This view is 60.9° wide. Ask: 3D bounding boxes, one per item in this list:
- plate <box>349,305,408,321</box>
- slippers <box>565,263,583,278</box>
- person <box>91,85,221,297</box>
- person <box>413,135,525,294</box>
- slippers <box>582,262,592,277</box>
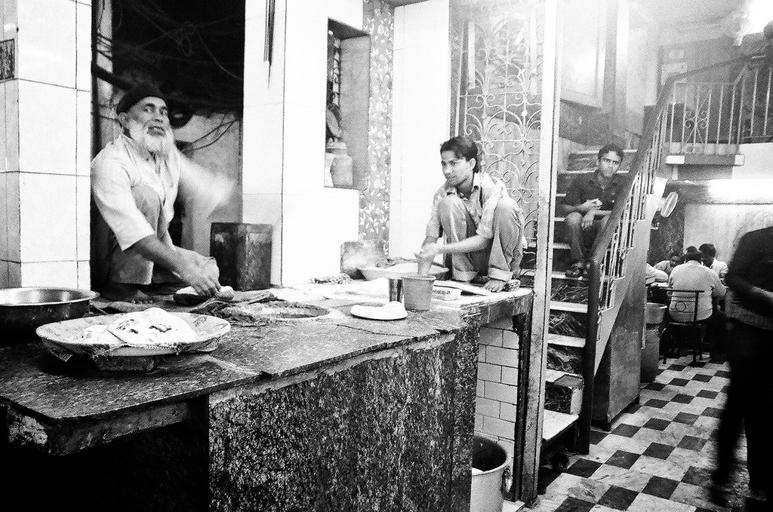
[{"bbox_3d":[-0.062,0.365,4.402,0.395,0.099,0.215,6,8,34],"label":"plate"},{"bbox_3d":[2.253,0.178,7.894,0.107,0.113,0.287,4,3,30],"label":"slippers"},{"bbox_3d":[-1.714,-0.493,5.030,1.021,1.692,1.254,0,7,-13],"label":"person"},{"bbox_3d":[0.746,-0.405,5.872,0.921,1.299,0.840,5,7,25],"label":"person"},{"bbox_3d":[2.408,0.164,7.952,0.080,0.167,0.351,4,7,22],"label":"slippers"}]
